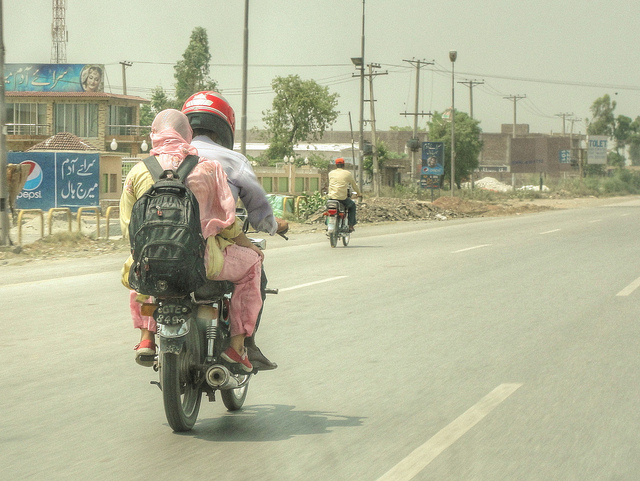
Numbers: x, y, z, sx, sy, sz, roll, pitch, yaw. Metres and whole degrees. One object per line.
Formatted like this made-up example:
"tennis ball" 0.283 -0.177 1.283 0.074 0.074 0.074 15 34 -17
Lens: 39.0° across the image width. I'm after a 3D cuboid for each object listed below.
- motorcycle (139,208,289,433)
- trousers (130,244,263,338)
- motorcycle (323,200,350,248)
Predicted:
"motorcycle" -0.994 0.719 7.348 0.647 1.566 1.776 0 2 2
"trousers" -0.854 0.401 7.571 0.662 0.650 1.019 3 14 16
"motorcycle" 0.421 -0.367 20.738 0.489 1.184 1.032 1 7 3
